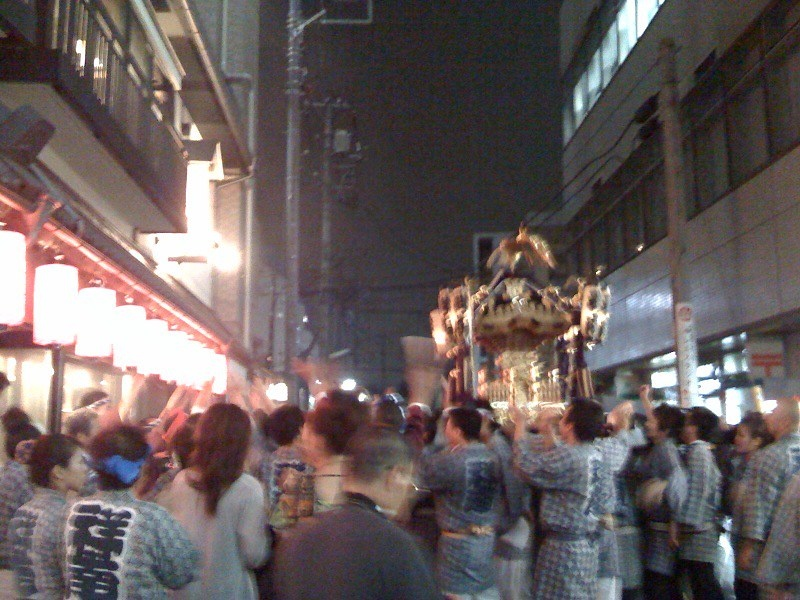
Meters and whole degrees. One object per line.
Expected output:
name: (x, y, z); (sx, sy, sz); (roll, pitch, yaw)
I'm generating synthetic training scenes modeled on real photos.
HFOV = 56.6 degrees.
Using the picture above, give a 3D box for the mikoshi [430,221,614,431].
mikoshi: (2.099, 0.616, 12.279); (2.827, 3.731, 2.901); (3, -8, -7)

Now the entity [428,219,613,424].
entity: (1.975, 0.544, 11.856); (2.821, 3.733, 2.902); (3, -9, -9)
